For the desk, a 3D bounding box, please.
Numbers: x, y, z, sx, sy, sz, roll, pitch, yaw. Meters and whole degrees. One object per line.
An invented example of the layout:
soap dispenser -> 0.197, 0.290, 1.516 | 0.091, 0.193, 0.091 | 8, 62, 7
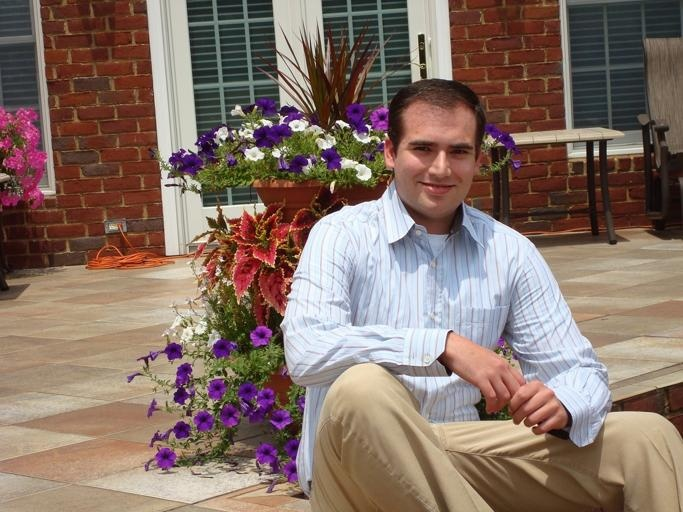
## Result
desk -> 1.768, -0.639, 7.316 | 1.618, 0.962, 0.897 | -1, 6, 3
